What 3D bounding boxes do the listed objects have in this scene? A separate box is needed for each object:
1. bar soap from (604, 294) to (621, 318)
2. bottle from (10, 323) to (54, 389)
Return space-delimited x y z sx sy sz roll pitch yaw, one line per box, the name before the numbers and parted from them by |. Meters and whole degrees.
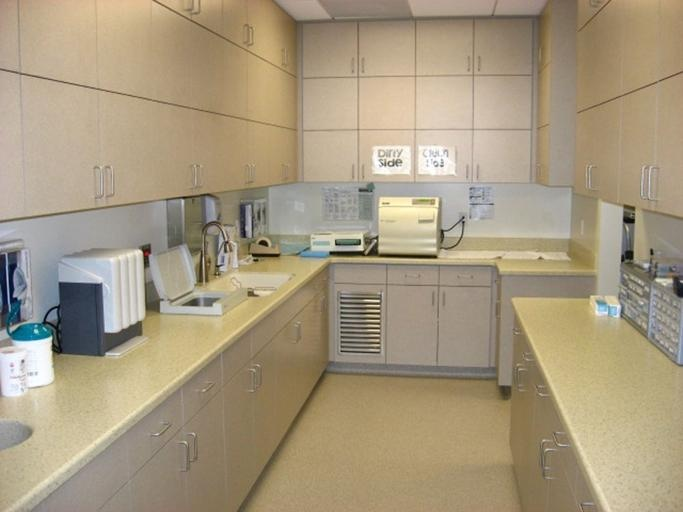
bar soap | 1.489 0.277 2.988 0.075 0.074 0.172 4 13 21
bottle | -1.181 0.376 2.092 0.130 0.234 0.139 0 8 0
